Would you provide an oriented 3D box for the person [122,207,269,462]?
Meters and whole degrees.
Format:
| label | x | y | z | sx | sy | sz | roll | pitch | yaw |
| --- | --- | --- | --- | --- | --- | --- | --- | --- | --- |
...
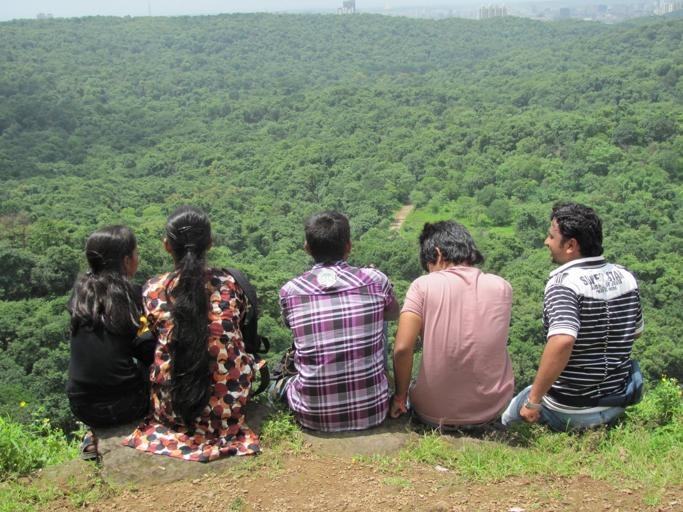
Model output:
| label | x | y | z | sx | sy | sz | roll | pitch | yaw |
| --- | --- | --- | --- | --- | --- | --- | --- | --- | --- |
| person | -0.955 | 0.493 | 4.241 | 0.993 | 1.505 | 1.093 | 1 | 2 | 8 |

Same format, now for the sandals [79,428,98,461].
| label | x | y | z | sx | sy | sz | roll | pitch | yaw |
| --- | --- | --- | --- | --- | --- | --- | --- | --- | --- |
| sandals | -1.623 | 1.203 | 3.964 | 0.065 | 0.173 | 0.115 | -6 | -7 | 39 |

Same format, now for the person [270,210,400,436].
| label | x | y | z | sx | sy | sz | roll | pitch | yaw |
| --- | --- | --- | --- | --- | --- | --- | --- | --- | --- |
| person | 0.014 | 0.425 | 4.516 | 1.017 | 1.444 | 1.230 | -4 | 9 | -21 |

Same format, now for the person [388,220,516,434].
| label | x | y | z | sx | sy | sz | roll | pitch | yaw |
| --- | --- | --- | --- | --- | --- | --- | --- | --- | --- |
| person | 0.737 | 0.488 | 4.135 | 0.840 | 1.371 | 0.446 | -2 | 12 | 3 |
